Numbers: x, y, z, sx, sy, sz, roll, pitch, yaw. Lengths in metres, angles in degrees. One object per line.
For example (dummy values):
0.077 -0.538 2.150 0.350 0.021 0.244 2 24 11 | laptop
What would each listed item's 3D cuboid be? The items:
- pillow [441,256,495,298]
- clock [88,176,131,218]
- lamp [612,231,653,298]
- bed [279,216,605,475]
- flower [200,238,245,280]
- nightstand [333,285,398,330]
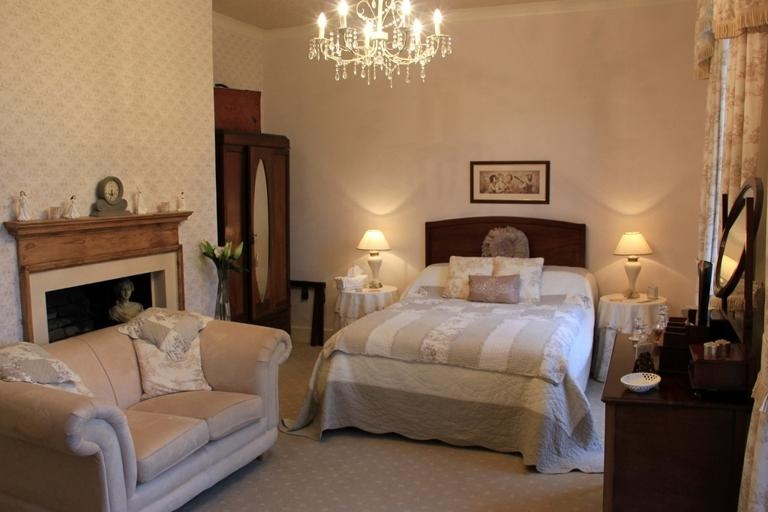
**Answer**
0.873 0.227 6.143 0.483 0.443 0.148 7 -16 42 | pillow
-2.288 -0.485 4.760 0.129 0.369 0.395 -2 -2 27 | clock
2.591 0.076 5.972 0.340 0.637 0.524 5 15 25 | lamp
0.898 1.033 5.574 2.497 1.335 2.311 2 10 22 | bed
-1.546 0.026 5.659 0.379 0.319 0.379 -3 0 -39 | flower
-0.217 0.558 6.457 0.526 0.378 0.515 0 2 -2 | nightstand
